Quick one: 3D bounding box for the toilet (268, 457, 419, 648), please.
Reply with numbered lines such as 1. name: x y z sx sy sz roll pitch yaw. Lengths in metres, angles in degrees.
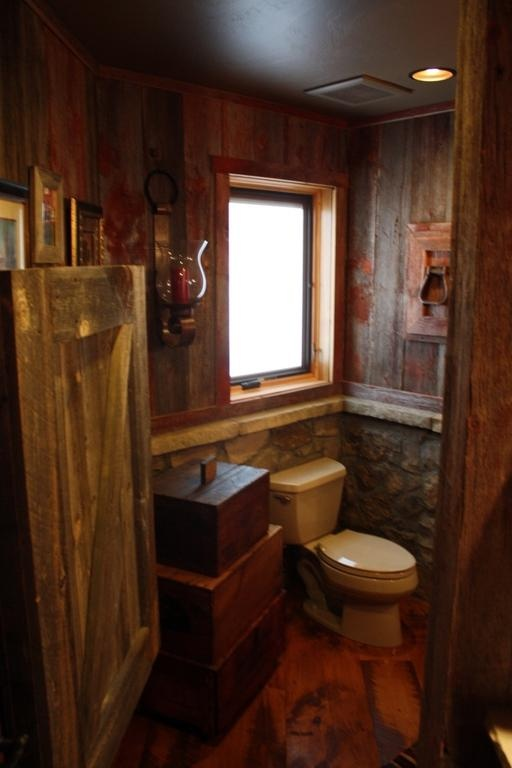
1. toilet: 0.430 0.810 2.822 0.716 0.700 0.502 6 9 33
